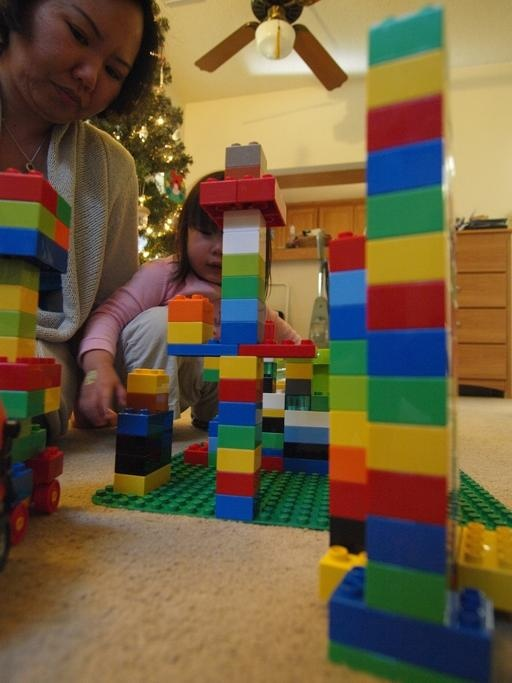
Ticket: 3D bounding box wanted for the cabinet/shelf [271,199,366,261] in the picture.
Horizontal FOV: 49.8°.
[{"bbox_3d":[0.659,-1.017,5.143,0.742,0.504,0.590,2,11,14],"label":"cabinet/shelf"}]
